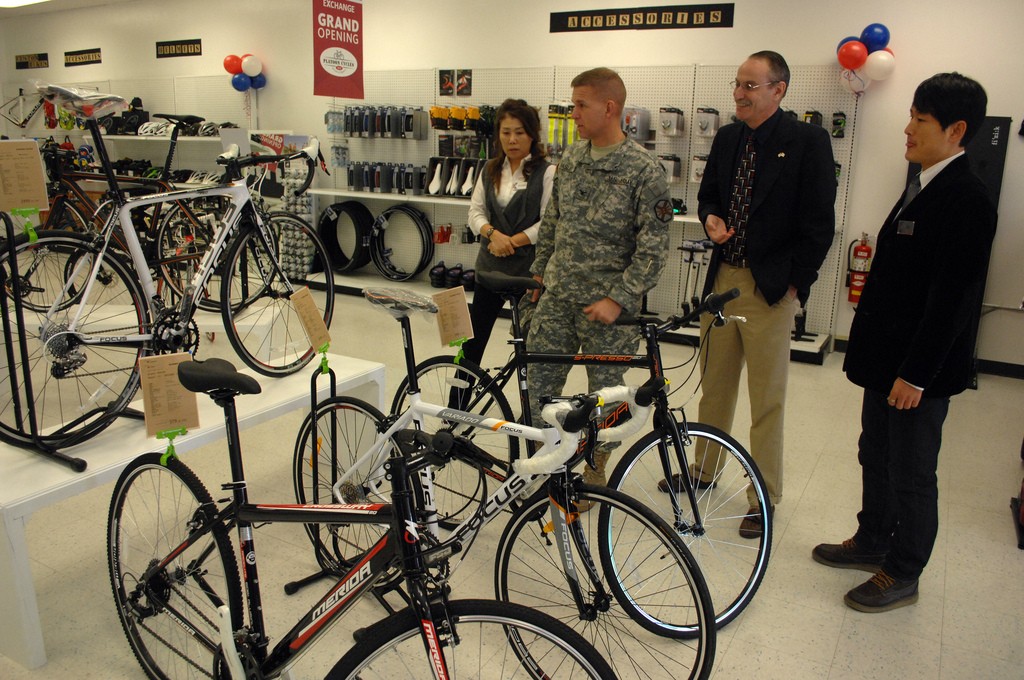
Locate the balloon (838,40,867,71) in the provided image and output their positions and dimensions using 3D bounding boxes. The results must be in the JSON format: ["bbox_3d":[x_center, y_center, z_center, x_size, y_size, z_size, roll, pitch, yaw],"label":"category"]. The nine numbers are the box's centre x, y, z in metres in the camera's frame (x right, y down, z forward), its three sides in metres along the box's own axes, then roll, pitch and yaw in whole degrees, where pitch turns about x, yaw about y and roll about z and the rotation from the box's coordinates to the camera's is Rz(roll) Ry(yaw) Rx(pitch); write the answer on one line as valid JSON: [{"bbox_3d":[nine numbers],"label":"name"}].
[{"bbox_3d":[3.192,-2.674,7.025,0.243,0.301,0.246,-17,20,-25],"label":"balloon"}]

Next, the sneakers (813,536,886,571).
[{"bbox_3d":[1.888,1.204,4.211,0.392,0.190,0.154,6,13,13],"label":"sneakers"}]

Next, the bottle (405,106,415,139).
[{"bbox_3d":[-1.257,-2.701,9.171,0.152,0.342,0.104,6,18,15],"label":"bottle"}]

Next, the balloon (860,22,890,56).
[{"bbox_3d":[3.406,-2.857,7.039,0.243,0.315,0.256,-1,16,-8],"label":"balloon"}]

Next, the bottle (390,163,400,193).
[{"bbox_3d":[-1.433,-2.048,9.343,0.084,0.276,0.255,1,4,-34],"label":"bottle"}]

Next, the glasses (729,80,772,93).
[{"bbox_3d":[1.357,-1.439,4.193,0.174,0.052,0.043,8,19,17],"label":"glasses"}]

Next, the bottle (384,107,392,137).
[{"bbox_3d":[-1.537,-2.739,9.245,0.056,0.315,0.130,-2,18,-10],"label":"bottle"}]

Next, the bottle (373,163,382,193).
[{"bbox_3d":[-1.709,-2.083,9.432,0.061,0.278,0.259,1,7,-17],"label":"bottle"}]

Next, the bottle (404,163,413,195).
[{"bbox_3d":[-1.284,-2.022,9.284,0.071,0.288,0.200,1,3,1],"label":"bottle"}]

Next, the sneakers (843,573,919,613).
[{"bbox_3d":[1.927,1.297,3.986,0.397,0.187,0.169,-1,9,-4],"label":"sneakers"}]

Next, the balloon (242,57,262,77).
[{"bbox_3d":[-3.539,-3.772,10.227,0.299,0.283,0.212,-9,21,-30],"label":"balloon"}]

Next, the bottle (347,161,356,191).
[{"bbox_3d":[-2.090,-2.161,9.683,0.070,0.291,0.295,-1,12,-8],"label":"bottle"}]

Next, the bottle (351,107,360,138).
[{"bbox_3d":[-1.981,-2.806,9.481,0.140,0.333,0.053,12,20,31],"label":"bottle"}]

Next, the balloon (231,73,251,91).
[{"bbox_3d":[-3.672,-3.546,10.220,0.212,0.268,0.219,-12,0,-13],"label":"balloon"}]

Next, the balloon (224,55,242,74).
[{"bbox_3d":[-3.842,-3.811,10.379,0.271,0.259,0.312,11,7,-24],"label":"balloon"}]

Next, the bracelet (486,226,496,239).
[{"bbox_3d":[-0.145,-0.738,4.965,0.023,0.068,0.048,5,10,-39],"label":"bracelet"}]

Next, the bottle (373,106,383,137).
[{"bbox_3d":[-1.643,-2.763,9.313,0.075,0.333,0.165,-14,23,-41],"label":"bottle"}]

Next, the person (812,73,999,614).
[{"bbox_3d":[2.029,0.033,3.827,0.540,2.661,0.626,-1,17,-9],"label":"person"}]

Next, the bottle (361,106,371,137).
[{"bbox_3d":[-1.821,-2.779,9.398,0.148,0.327,0.068,14,21,34],"label":"bottle"}]
